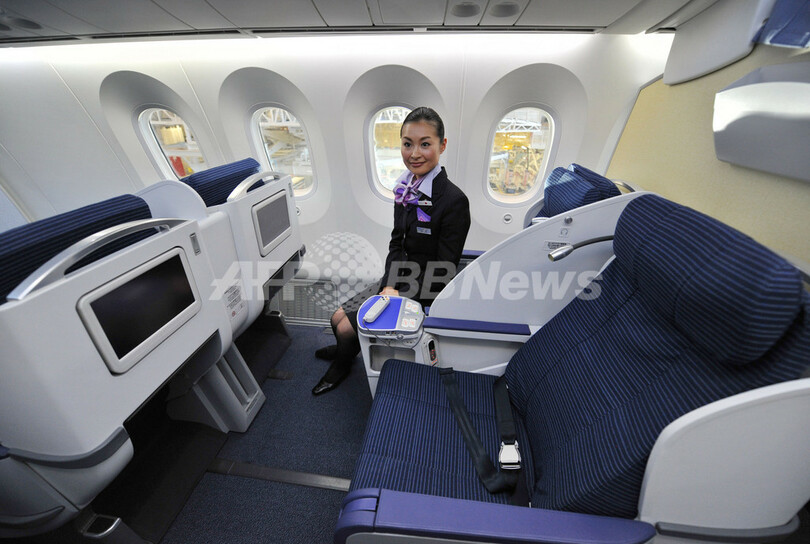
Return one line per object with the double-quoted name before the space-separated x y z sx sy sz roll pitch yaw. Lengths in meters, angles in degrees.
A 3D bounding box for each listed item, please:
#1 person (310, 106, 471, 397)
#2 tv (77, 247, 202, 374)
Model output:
"person" -0.138 -0.098 2.848 0.989 1.664 0.606 -11 27 -28
"tv" -1.173 0.159 2.070 0.042 0.349 0.490 2 34 34
